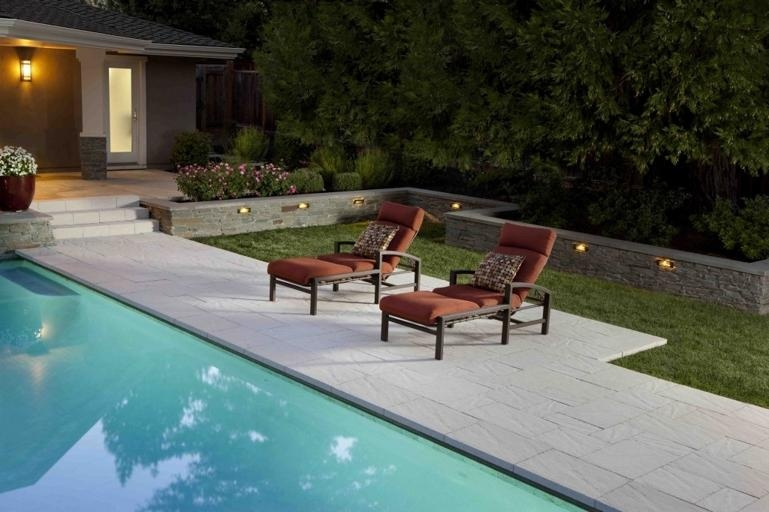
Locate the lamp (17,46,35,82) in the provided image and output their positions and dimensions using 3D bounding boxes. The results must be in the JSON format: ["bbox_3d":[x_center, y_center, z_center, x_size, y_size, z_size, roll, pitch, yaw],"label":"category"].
[{"bbox_3d":[-11.286,-6.058,15.788,0.447,1.073,0.196,-2,16,-33],"label":"lamp"}]

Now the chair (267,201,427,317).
[{"bbox_3d":[-0.737,-0.189,9.137,3.120,1.882,1.619,-5,11,-37],"label":"chair"}]

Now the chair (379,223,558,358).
[{"bbox_3d":[1.307,0.428,7.548,2.546,1.515,1.439,-9,14,-37],"label":"chair"}]

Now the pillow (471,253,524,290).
[{"bbox_3d":[1.735,0.181,7.556,0.645,0.582,0.198,13,-26,48],"label":"pillow"}]
